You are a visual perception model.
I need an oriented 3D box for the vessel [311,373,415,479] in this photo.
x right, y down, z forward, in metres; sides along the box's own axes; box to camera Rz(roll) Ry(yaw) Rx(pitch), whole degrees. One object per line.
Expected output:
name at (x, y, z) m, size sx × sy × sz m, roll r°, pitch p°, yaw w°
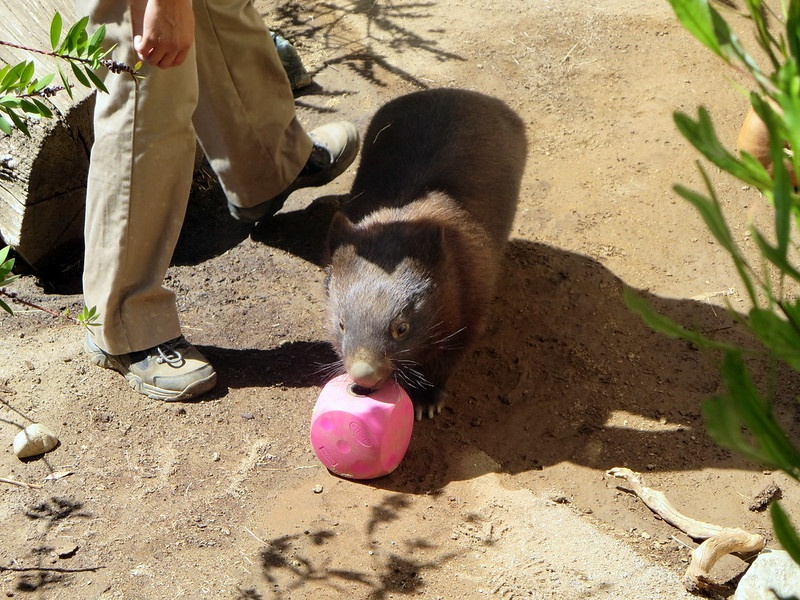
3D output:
vessel at (-0.192, 0.548, 4.249) m, size 0.416 × 0.419 × 0.466 m, roll 0°, pitch 32°, yaw 1°
